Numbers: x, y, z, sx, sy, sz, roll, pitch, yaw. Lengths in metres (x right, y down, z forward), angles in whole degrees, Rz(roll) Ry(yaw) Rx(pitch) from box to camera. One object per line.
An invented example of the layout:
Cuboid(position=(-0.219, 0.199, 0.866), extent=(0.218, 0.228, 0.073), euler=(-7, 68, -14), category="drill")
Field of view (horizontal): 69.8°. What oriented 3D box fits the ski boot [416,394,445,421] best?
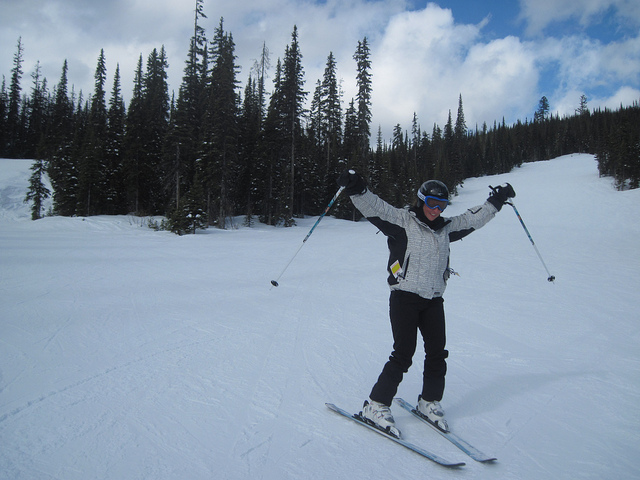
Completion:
Cuboid(position=(1.612, 2.491, 6.821), extent=(0.185, 0.242, 0.503), euler=(12, -4, -32), category="ski boot")
